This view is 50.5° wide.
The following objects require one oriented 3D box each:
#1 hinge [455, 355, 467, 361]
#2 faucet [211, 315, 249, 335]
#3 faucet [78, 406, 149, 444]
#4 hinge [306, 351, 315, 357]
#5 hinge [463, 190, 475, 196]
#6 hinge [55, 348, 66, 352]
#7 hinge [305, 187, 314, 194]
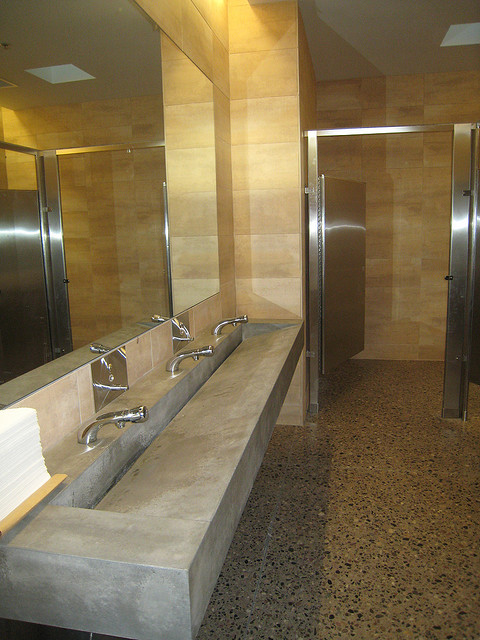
[{"bbox_3d":[1.378,0.239,3.172,0.064,0.047,0.009,9,8,22],"label":"hinge"},{"bbox_3d":[-0.051,0.017,2.581,0.242,0.089,0.068,-13,13,-24],"label":"faucet"},{"bbox_3d":[-0.306,0.237,1.213,0.150,0.098,0.124,3,8,-16],"label":"faucet"},{"bbox_3d":[0.463,0.222,3.356,0.041,0.038,0.011,0,11,21],"label":"hinge"},{"bbox_3d":[1.370,-0.761,3.050,0.063,0.038,0.032,3,5,34],"label":"hinge"},{"bbox_3d":[-0.424,0.072,1.196,0.009,0.007,0.014,8,3,25],"label":"hinge"},{"bbox_3d":[0.428,-0.802,3.149,0.051,0.038,0.042,9,8,23],"label":"hinge"}]
